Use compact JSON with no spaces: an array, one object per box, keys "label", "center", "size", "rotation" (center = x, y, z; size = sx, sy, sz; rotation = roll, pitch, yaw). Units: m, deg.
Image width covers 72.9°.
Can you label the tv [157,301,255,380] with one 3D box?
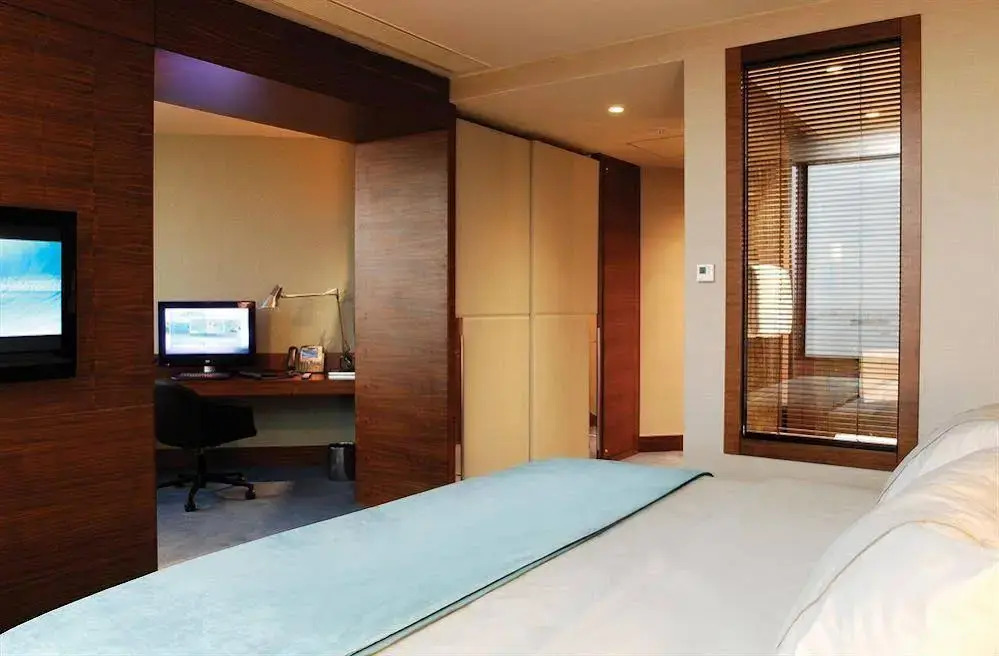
[{"label":"tv","center":[-2.537,0.093,5.822],"size":[0.809,0.558,0.172],"rotation":[0,-3,-6]}]

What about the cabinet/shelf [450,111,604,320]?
[{"label":"cabinet/shelf","center":[0.177,-0.931,5.495],"size":[0.555,1.398,1.747],"rotation":[1,-1,42]}]

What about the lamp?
[{"label":"lamp","center":[-1.825,-0.021,6.147],"size":[0.974,0.800,0.509],"rotation":[0,-5,2]}]

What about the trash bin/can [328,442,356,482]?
[{"label":"trash bin/can","center":[-1.340,1.136,5.764],"size":[0.339,0.313,0.308],"rotation":[2,-1,-10]}]

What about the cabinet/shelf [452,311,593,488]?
[{"label":"cabinet/shelf","center":[0.127,0.524,5.202],"size":[0.476,1.150,1.448],"rotation":[-1,-4,42]}]
